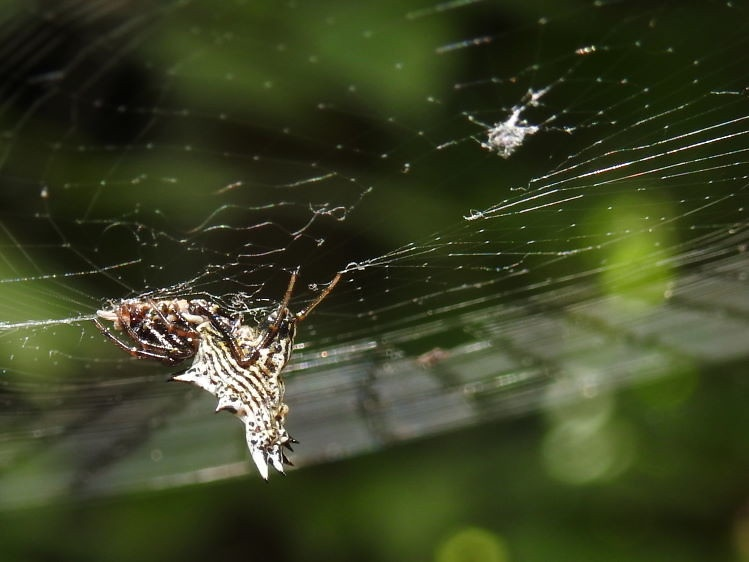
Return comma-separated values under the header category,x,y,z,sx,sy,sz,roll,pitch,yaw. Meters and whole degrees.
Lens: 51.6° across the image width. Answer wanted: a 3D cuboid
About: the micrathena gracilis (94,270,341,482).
category,x,y,z,sx,sy,sz,roll,pitch,yaw
micrathena gracilis,-0.507,0.339,2.654,0.731,0.644,0.245,-12,-2,-5
